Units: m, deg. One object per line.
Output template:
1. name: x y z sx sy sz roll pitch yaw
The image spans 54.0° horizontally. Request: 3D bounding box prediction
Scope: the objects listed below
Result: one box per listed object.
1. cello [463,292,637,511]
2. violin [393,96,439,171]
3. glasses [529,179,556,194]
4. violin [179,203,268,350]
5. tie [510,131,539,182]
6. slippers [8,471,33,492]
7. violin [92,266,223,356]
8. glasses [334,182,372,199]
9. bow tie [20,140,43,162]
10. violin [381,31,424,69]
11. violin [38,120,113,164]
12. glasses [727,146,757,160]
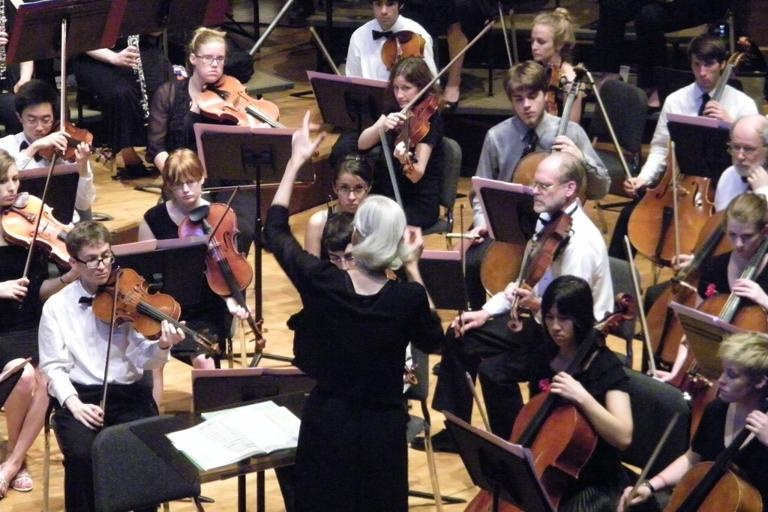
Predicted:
1. cello: 0.778 0.714 3.508 0.929 1.018 0.412 -6 17 -37
2. violin: 0.266 -0.873 5.172 0.155 0.451 0.245 28 0 -26
3. glasses: 0.884 -0.374 4.174 0.121 0.072 0.029 9 14 23
4. violin: -0.967 0.108 4.752 0.326 0.863 0.147 -27 7 -20
5. tie: 0.950 -0.682 5.066 0.209 0.362 0.089 1 -2 12
6. slippers: -2.040 1.270 4.233 0.090 0.105 0.093 15 17 41
7. violin: -1.209 0.349 4.106 0.791 0.312 0.142 35 -15 -11
8. glasses: -0.196 -0.400 4.550 0.198 0.086 0.125 2 13 -8
9. bow tie: -2.416 -0.715 5.133 0.095 0.125 0.202 -9 18 -44
10. violin: 0.147 -1.697 6.213 0.366 0.318 0.182 5 13 4
11. violin: -2.154 -0.827 5.292 0.425 0.110 0.227 27 50 -4
12. glasses: 2.220 -0.650 4.705 0.060 0.081 0.180 -6 15 -35
